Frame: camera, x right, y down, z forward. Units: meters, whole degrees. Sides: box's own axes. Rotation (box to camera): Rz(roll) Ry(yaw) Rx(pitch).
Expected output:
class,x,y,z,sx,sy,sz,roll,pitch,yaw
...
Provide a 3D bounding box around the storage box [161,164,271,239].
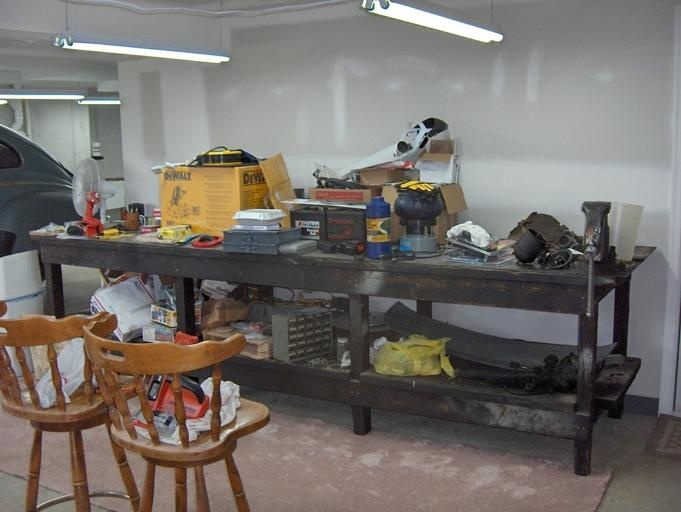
class,x,y,z,sx,sy,sz,roll,pitch,yaw
storage box,-0.970,-0.420,4.266,0.676,0.422,0.380,1,7,16

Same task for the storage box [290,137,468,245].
class,x,y,z,sx,sy,sz,roll,pitch,yaw
storage box,0.340,-0.492,3.987,0.974,0.629,0.882,1,5,21

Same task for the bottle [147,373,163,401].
class,x,y,z,sx,sy,sz,roll,pitch,yaw
bottle,-0.800,0.576,2.471,0.066,0.116,0.026,0,-15,46

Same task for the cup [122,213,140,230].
class,x,y,z,sx,sy,sz,roll,pitch,yaw
cup,-1.705,-0.285,4.654,0.149,0.142,0.155,0,1,0
